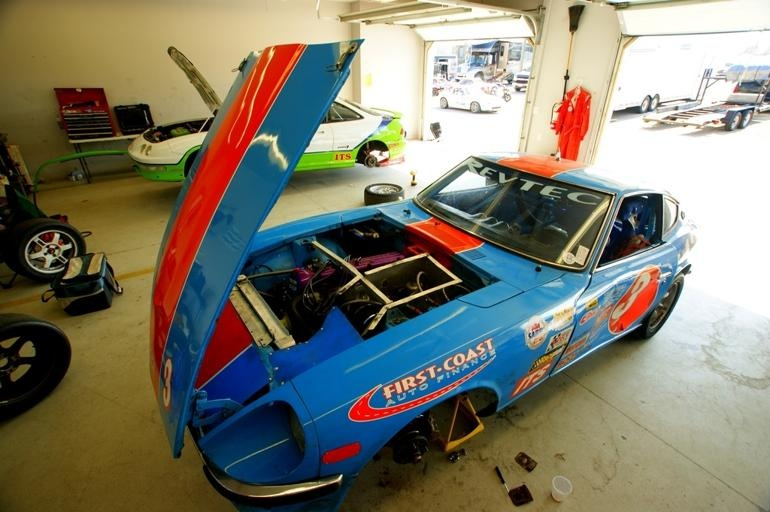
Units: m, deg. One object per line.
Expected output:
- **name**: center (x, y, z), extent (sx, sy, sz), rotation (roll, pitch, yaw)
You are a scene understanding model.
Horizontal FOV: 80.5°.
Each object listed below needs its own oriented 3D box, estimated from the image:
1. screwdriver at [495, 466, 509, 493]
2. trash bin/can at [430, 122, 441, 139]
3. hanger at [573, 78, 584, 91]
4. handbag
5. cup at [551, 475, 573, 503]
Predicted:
- **screwdriver**: center (1.054, 1.992, 4.068), extent (0.056, 0.040, 0.228), rotation (2, 36, -24)
- **trash bin/can**: center (1.369, -3.283, 11.917), extent (0.149, 0.399, 0.304), rotation (-40, 61, -22)
- **hanger**: center (3.628, -3.156, 8.485), extent (0.136, 0.229, 0.157), rotation (3, -11, 27)
- **handbag**: center (-3.484, 0.356, 5.453), extent (0.823, 0.518, 0.567), rotation (-5, 37, 9)
- **cup**: center (1.560, 2.037, 4.022), extent (0.184, 0.122, 0.176), rotation (1, 28, 0)
